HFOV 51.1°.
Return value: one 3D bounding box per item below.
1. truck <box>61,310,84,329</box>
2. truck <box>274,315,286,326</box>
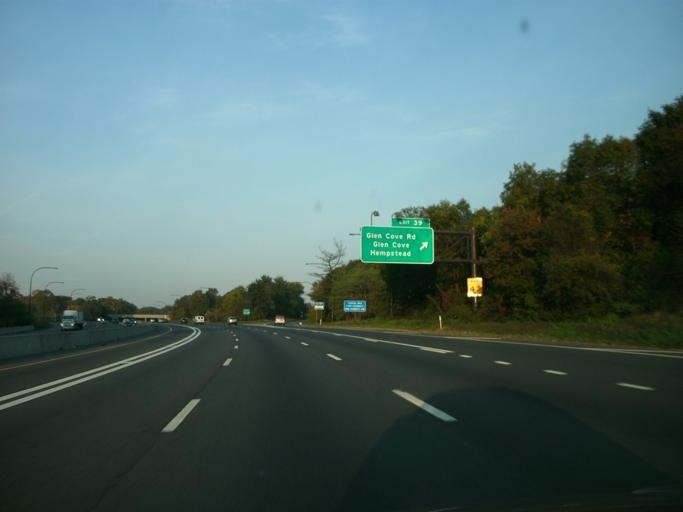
[{"bbox_3d":[-28.424,6.865,74.724,1.487,2.116,5.286,-1,-11,-7],"label":"truck"},{"bbox_3d":[-8.616,8.977,99.683,1.784,1.630,2.738,0,-16,-3],"label":"truck"}]
